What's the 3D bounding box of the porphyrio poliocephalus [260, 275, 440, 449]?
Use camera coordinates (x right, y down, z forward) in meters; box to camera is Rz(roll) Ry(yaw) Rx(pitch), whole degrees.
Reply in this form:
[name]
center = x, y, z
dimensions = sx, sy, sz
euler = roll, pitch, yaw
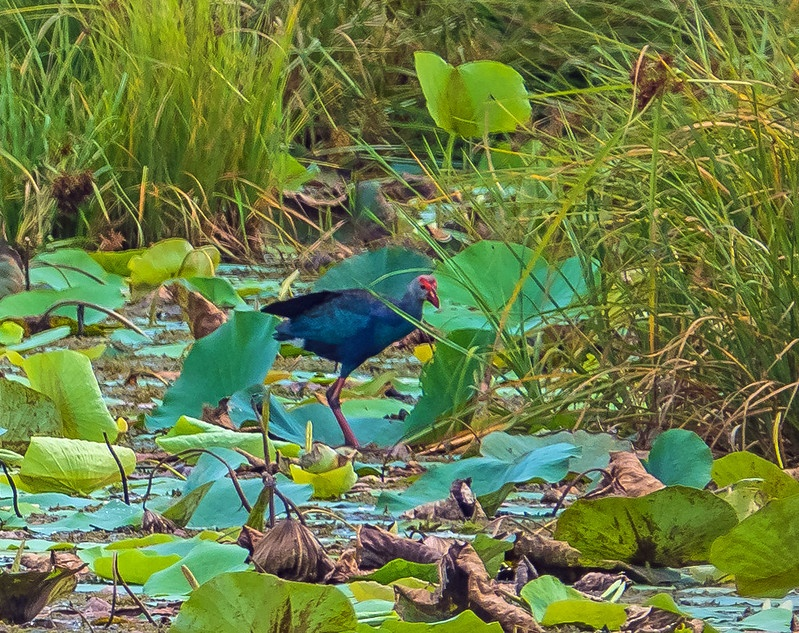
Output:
[porphyrio poliocephalus]
center = -0.148, 0.123, 3.866
dimensions = 0.522, 0.520, 0.169
euler = 6, 0, 18
